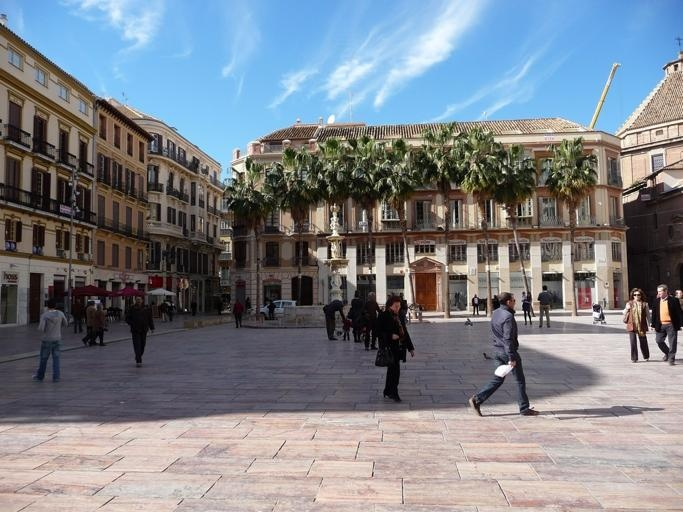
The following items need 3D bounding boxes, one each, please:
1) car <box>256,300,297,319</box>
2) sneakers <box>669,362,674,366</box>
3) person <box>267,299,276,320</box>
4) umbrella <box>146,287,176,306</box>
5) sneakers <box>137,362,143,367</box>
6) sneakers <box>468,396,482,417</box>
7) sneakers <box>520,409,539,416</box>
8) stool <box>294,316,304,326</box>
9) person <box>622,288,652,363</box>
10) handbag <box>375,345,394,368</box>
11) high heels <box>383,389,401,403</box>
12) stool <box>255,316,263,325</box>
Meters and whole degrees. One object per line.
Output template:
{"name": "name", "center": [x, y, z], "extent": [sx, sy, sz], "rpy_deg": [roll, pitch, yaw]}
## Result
{"name": "car", "center": [-5.011, 3.905, 47.885], "extent": [2.595, 1.537, 1.778], "rpy_deg": [2, -4, 0]}
{"name": "sneakers", "center": [8.717, 2.841, 16.445], "extent": [0.097, 0.074, 0.130], "rpy_deg": [20, -8, -2]}
{"name": "person", "center": [-4.363, 3.335, 39.019], "extent": [0.366, 1.305, 2.179], "rpy_deg": [0, -7, -9]}
{"name": "umbrella", "center": [-16.054, 3.551, 55.206], "extent": [2.186, 0.936, 2.203], "rpy_deg": [1, -5, 12]}
{"name": "sneakers", "center": [-5.749, 3.096, 17.847], "extent": [0.144, 0.148, 0.082], "rpy_deg": [-5, -49, -17]}
{"name": "sneakers", "center": [2.349, 2.600, 10.918], "extent": [0.163, 0.408, 0.134], "rpy_deg": [-16, 10, 4]}
{"name": "sneakers", "center": [3.256, 2.715, 10.842], "extent": [0.312, 0.142, 0.115], "rpy_deg": [-1, -8, 2]}
{"name": "stool", "center": [-2.444, 3.874, 37.042], "extent": [0.669, 0.687, 0.372], "rpy_deg": [8, -23, 2]}
{"name": "person", "center": [8.197, 1.902, 17.375], "extent": [0.589, 2.032, 0.960], "rpy_deg": [-4, -8, 25]}
{"name": "handbag", "center": [0.813, 1.951, 12.120], "extent": [0.377, 0.376, 0.230], "rpy_deg": [-6, -8, 31]}
{"name": "high heels", "center": [0.973, 2.709, 12.113], "extent": [0.137, 0.188, 0.456], "rpy_deg": [4, -14, -22]}
{"name": "stool", "center": [-4.871, 3.870, 37.416], "extent": [0.436, 0.566, 0.310], "rpy_deg": [1, -7, -22]}
